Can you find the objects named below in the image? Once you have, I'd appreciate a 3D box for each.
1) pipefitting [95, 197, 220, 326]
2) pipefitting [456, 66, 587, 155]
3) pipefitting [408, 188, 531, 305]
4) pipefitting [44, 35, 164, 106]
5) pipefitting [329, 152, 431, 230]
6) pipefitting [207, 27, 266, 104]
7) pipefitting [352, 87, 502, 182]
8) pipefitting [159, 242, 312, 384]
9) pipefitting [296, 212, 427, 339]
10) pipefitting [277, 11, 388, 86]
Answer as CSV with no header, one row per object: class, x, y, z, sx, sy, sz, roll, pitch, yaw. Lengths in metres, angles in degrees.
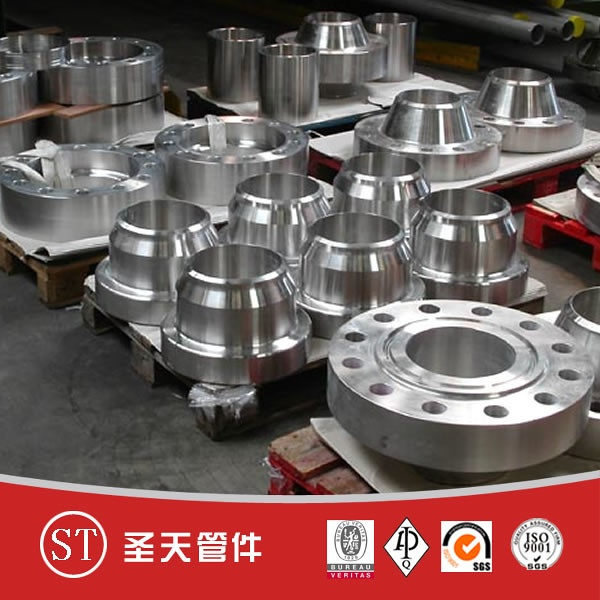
pipefitting,-0.569,-0.191,2.525,0.655,0.317,0.562,11,33,13
pipefitting,1.510,-1.226,4.079,0.878,0.335,0.727,-2,32,-1
pipefitting,0.712,-0.237,2.571,0.590,0.338,0.528,-19,34,-25
pipefitting,-1.182,-1.637,4.174,0.922,0.276,0.850,-17,39,-31
pipefitting,0.338,-0.479,2.916,0.548,0.330,0.473,7,21,10
pipefitting,-0.613,-1.780,4.575,0.740,0.470,0.626,1,21,-2
pipefitting,0.734,-0.968,3.593,0.865,0.330,0.752,8,30,17
pipefitting,-0.288,0.054,2.201,0.663,0.317,0.563,5,17,4
pipefitting,0.215,-0.105,2.387,0.606,0.318,0.516,-6,28,-16
pipefitting,0.180,-1.977,4.704,0.867,0.367,0.827,20,36,31
